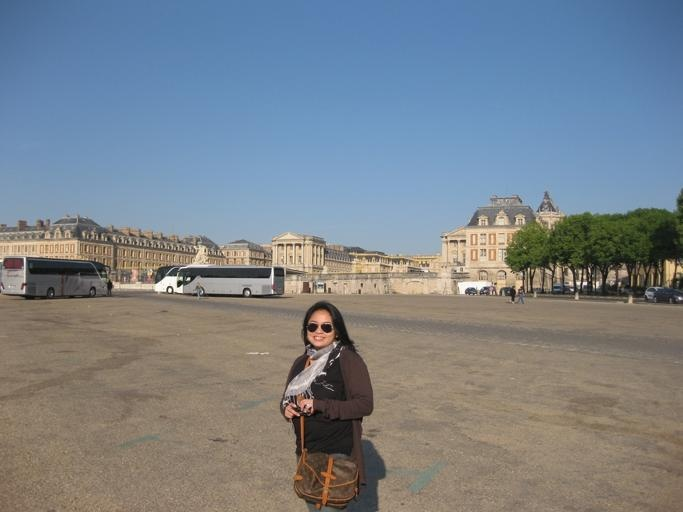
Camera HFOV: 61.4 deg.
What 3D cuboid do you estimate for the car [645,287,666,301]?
[{"bbox_3d":[31.930,3.970,59.106,1.102,0.872,1.881,3,-9,-24],"label":"car"}]

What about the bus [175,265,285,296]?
[{"bbox_3d":[-11.020,2.525,58.426,12.371,3.506,3.763,2,-3,7],"label":"bus"}]

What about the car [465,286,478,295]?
[{"bbox_3d":[21.556,6.030,95.957,1.499,1.248,1.593,4,2,5],"label":"car"}]
